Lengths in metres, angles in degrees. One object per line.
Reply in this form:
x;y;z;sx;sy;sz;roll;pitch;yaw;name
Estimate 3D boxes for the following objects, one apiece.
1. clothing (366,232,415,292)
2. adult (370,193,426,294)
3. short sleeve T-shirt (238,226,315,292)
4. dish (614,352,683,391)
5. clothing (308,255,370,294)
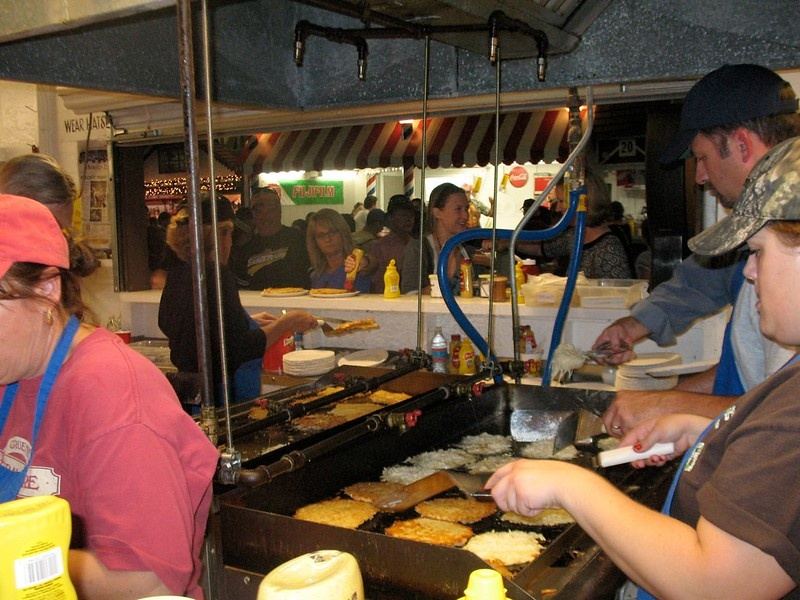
-0.073;-0.273;5.331;0.551;0.399;0.170;-3;3;-30;clothing
-0.045;-0.458;5.959;0.236;0.700;0.349;27;43;31;adult
-1.036;-0.326;5.930;0.609;0.450;0.216;-5;-5;16;short sleeve T-shirt
1.127;0.336;3.259;0.279;0.135;0.334;-1;3;5;dish
-0.489;-0.256;5.498;0.462;0.409;0.234;-3;-1;12;clothing
